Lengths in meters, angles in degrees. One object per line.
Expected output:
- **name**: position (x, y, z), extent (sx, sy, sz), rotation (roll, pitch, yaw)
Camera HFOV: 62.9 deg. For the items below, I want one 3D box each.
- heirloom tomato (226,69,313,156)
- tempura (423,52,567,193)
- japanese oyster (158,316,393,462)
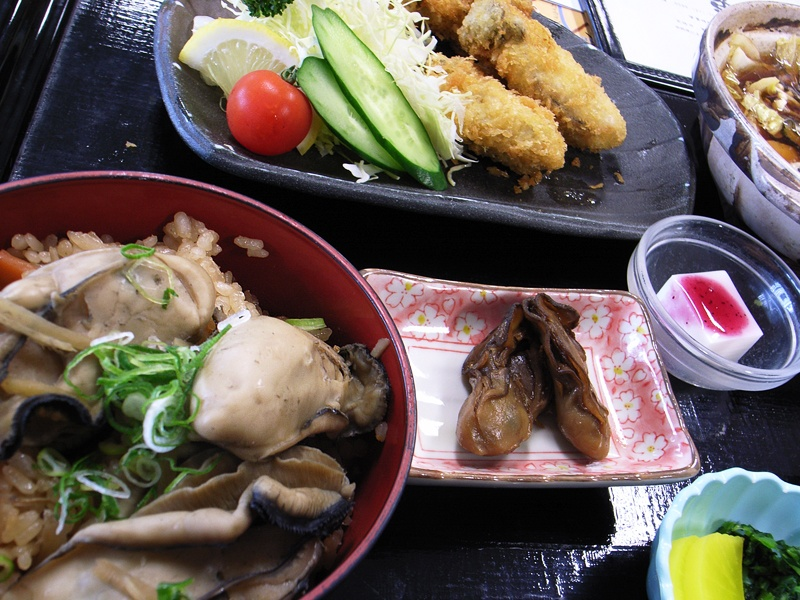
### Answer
- **heirloom tomato**: position (-0.519, -0.719, 2.545), extent (0.290, 0.346, 0.335), rotation (17, 20, 4)
- **tempura**: position (0.424, -0.815, 2.895), extent (0.653, 0.431, 0.254), rotation (42, 37, 24)
- **japanese oyster**: position (-0.297, 0.221, 1.714), extent (0.468, 0.250, 0.301), rotation (-2, 45, -46)
